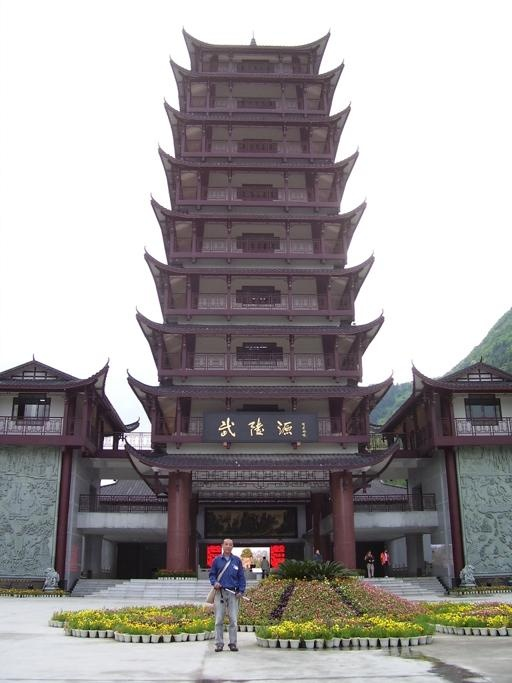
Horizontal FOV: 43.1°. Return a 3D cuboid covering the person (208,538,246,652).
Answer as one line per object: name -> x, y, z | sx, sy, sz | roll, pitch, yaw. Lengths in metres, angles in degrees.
person -> -0.359, 3.170, 8.135 | 0.418, 1.287, 0.769 | -1, -20, -2
